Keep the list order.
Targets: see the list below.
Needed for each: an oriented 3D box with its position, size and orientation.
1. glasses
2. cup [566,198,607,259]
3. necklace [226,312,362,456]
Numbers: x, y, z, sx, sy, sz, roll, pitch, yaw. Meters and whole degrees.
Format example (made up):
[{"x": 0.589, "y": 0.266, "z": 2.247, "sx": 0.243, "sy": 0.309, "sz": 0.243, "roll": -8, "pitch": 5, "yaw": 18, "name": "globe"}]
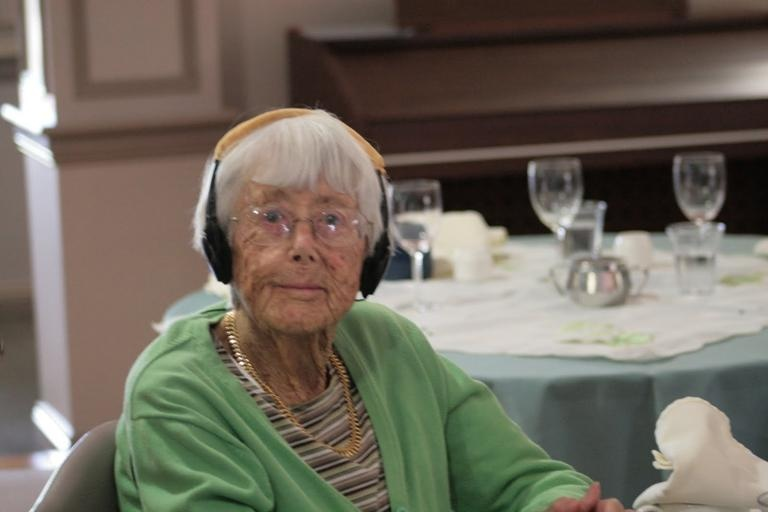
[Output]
[{"x": -0.297, "y": -0.108, "z": 4.644, "sx": 0.470, "sy": 0.155, "sz": 0.058, "roll": -5, "pitch": 0, "yaw": -10, "name": "glasses"}, {"x": 0.861, "y": -0.118, "z": 5.660, "sx": 0.192, "sy": 0.302, "sz": 0.206, "roll": 1, "pitch": 7, "yaw": 0, "name": "cup"}, {"x": -0.316, "y": 0.461, "z": 4.682, "sx": 0.102, "sy": 0.577, "sz": 0.370, "roll": -42, "pitch": -9, "yaw": 11, "name": "necklace"}]
